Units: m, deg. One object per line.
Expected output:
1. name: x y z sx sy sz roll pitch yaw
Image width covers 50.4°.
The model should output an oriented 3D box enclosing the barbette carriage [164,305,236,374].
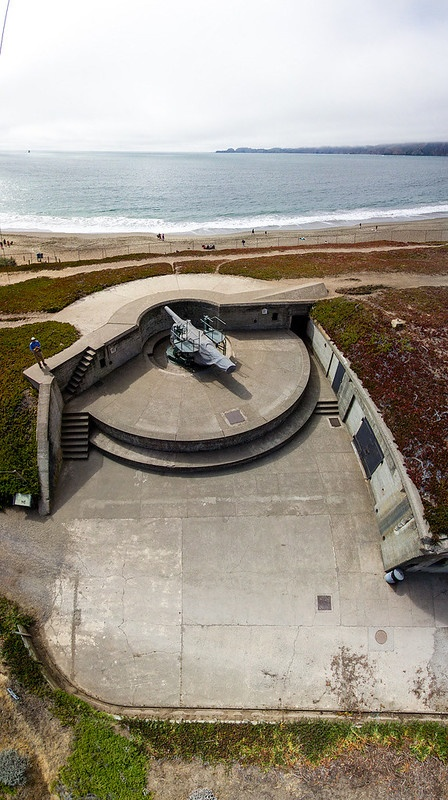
1. barbette carriage: -1.162 -2.790 26.792 2.371 1.917 5.634 -20 54 -27
